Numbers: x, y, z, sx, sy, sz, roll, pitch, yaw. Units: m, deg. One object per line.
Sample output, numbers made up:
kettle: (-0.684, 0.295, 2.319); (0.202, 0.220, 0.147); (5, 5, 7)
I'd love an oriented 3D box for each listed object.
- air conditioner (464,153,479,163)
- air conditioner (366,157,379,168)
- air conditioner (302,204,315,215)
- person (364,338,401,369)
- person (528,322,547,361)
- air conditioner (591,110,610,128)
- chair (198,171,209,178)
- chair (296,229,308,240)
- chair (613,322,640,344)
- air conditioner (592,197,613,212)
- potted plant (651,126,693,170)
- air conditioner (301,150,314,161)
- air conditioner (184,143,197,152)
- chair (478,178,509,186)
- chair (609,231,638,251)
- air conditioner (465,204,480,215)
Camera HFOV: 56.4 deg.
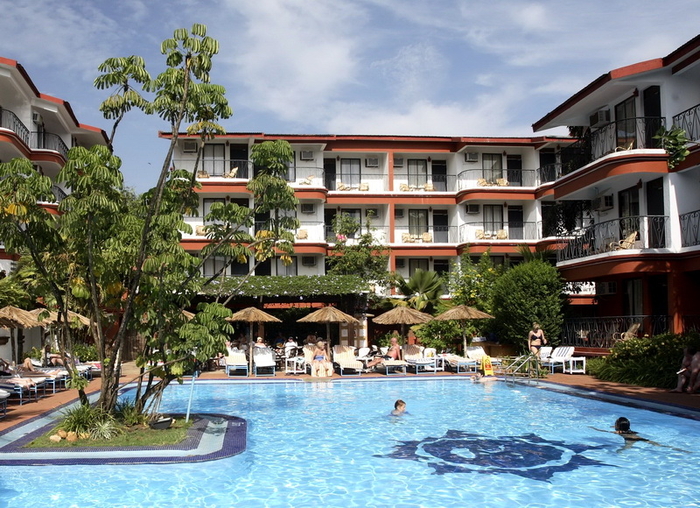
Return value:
air conditioner: (8.272, -6.712, 44.423); (1.041, 0.759, 0.561); (2, -1, -1)
air conditioner: (1.524, -6.293, 44.360); (1.116, 0.767, 0.597); (1, -7, -8)
air conditioner: (-2.711, -2.976, 42.485); (1.104, 0.915, 0.600); (1, -4, -12)
person: (1.480, 4.614, 30.014); (1.830, 1.051, 1.092); (-13, 10, 4)
person: (7.844, 3.696, 27.331); (0.585, 1.523, 3.533); (-3, -9, 16)
air conditioner: (11.545, -6.303, 30.096); (0.627, 0.875, 1.228); (2, -6, 1)
chair: (-8.941, -4.912, 40.058); (0.524, 0.630, 0.517); (0, -2, -22)
chair: (-3.015, -1.262, 41.130); (0.602, 0.808, 0.865); (1, -9, -5)
chair: (11.416, 3.311, 26.536); (1.234, 0.918, 0.802); (-10, -6, 11)
air conditioner: (11.648, -2.330, 30.000); (0.518, 0.631, 0.987); (1, -9, -9)
potted plant: (12.895, -4.108, 26.393); (1.544, 1.614, 1.663); (-4, -21, 31)
air conditioner: (-2.832, -6.555, 42.981); (1.031, 0.725, 0.523); (1, -1, -7)
air conditioner: (-10.079, -6.845, 41.384); (0.864, 0.706, 0.459); (0, -12, -5)
chair: (9.504, -4.796, 43.265); (1.883, 0.642, 1.113); (-1, -9, 3)
chair: (11.226, -0.482, 26.511); (1.094, 0.805, 0.727); (-6, -6, 7)
air conditioner: (8.265, -3.071, 43.881); (1.163, 0.808, 0.617); (1, -5, -9)
